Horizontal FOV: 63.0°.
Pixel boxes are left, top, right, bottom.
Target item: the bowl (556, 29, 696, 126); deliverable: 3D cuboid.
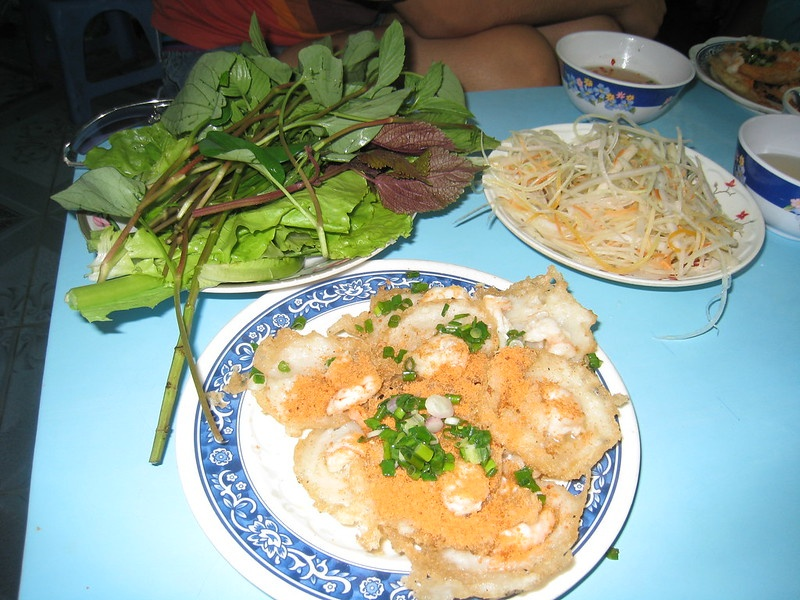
[{"bbox_3d":[1.353,-1.230,3.964,0.748,0.288,0.716,7,28,-4],"label":"bowl"}]
